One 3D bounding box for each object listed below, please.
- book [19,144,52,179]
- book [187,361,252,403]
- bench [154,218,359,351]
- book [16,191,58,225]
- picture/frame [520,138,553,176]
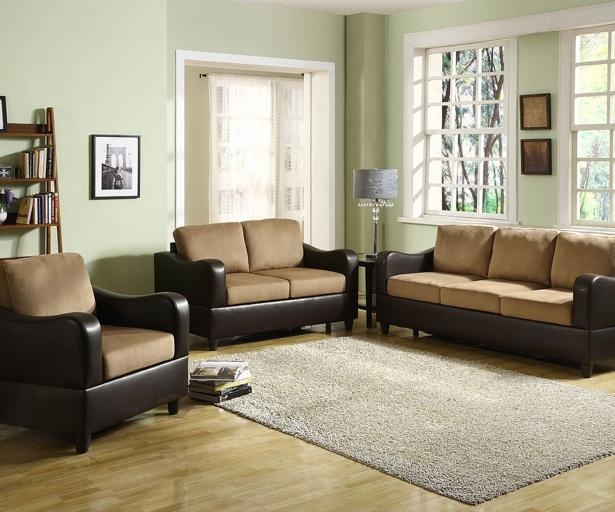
[{"bbox_3d":[-2.268,-0.790,4.418,0.261,0.287,0.145,-3,6,-27],"label":"book"},{"bbox_3d":[-0.540,0.780,3.330,0.303,0.137,0.259,-3,7,-32],"label":"book"},{"bbox_3d":[-0.610,0.228,5.120,1.880,1.154,1.207,-1,1,-35],"label":"bench"},{"bbox_3d":[-2.277,-0.399,4.436,0.326,0.266,0.156,-2,6,-22],"label":"book"},{"bbox_3d":[2.349,-1.016,5.369,0.071,0.471,0.436,-1,2,-39],"label":"picture/frame"}]
